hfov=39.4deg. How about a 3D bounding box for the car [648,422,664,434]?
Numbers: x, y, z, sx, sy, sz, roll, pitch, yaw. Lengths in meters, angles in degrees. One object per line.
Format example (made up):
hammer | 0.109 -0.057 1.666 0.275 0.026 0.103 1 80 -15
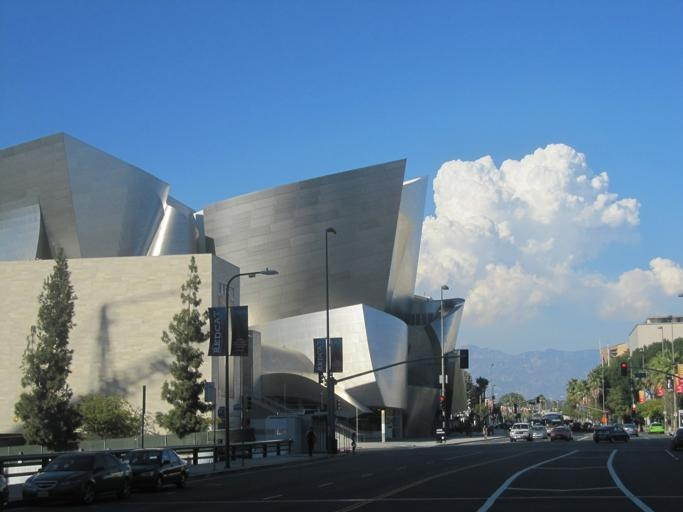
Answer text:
car | 39.927 21.954 120.569 1.733 1.486 3.004 0 -3 4

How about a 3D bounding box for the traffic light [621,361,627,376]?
traffic light | 22.577 9.024 76.078 0.372 1.175 1.291 -6 -16 21
